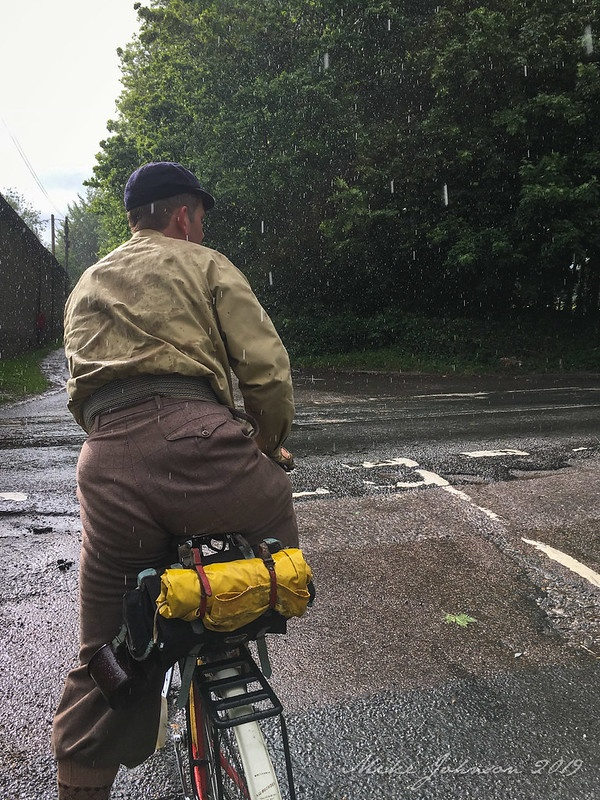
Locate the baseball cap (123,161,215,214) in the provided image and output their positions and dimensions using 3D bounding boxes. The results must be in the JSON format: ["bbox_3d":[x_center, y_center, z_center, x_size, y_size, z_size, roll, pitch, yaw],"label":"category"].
[{"bbox_3d":[-0.400,-0.678,2.320,0.209,0.119,0.159,-19,25,-34],"label":"baseball cap"}]

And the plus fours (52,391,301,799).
[{"bbox_3d":[-0.355,0.638,2.040,0.568,1.208,0.421,5,-5,-6],"label":"plus fours"}]

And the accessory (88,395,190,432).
[{"bbox_3d":[-0.469,0.057,2.028,0.164,0.069,0.139,-17,-6,-7],"label":"accessory"}]
